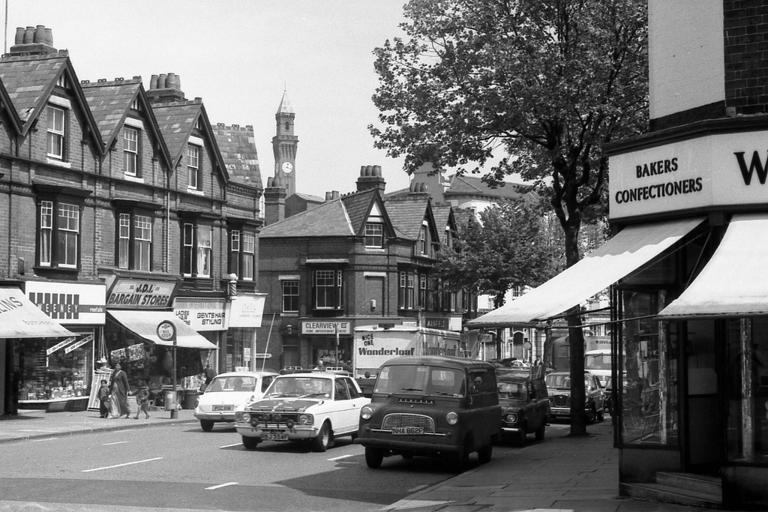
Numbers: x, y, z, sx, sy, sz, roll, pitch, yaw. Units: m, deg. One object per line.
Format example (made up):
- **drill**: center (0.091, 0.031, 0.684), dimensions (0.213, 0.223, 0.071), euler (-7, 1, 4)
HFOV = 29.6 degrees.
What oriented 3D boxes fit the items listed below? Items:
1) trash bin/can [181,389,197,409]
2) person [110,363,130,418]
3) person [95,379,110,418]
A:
- **trash bin/can**: center (-7.619, 5.612, 56.718), dimensions (0.679, 0.811, 0.476), euler (-1, -10, -8)
- **person**: center (-9.429, 4.775, 51.859), dimensions (0.681, 2.001, 1.372), euler (0, -10, -11)
- **person**: center (-10.018, 5.119, 51.930), dimensions (0.400, 1.452, 1.638), euler (0, -10, -11)
